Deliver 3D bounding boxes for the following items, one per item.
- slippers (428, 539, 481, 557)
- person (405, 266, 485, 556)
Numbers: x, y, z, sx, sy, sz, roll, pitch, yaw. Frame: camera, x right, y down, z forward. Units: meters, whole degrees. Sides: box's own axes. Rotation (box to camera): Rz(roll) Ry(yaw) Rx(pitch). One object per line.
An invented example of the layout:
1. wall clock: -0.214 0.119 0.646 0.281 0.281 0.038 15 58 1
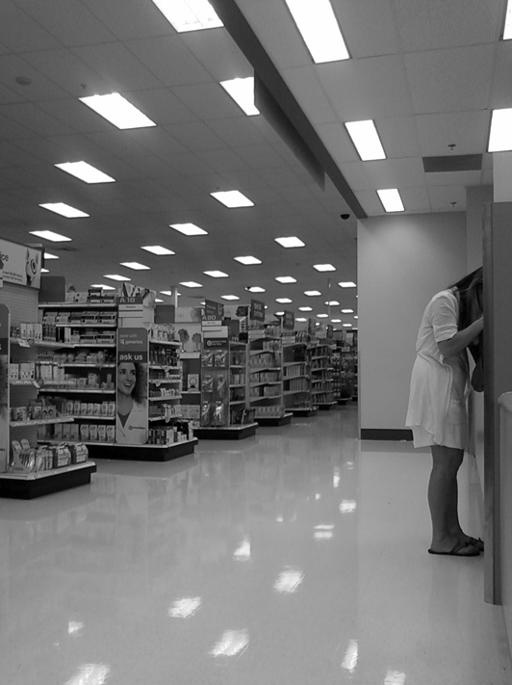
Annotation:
1. slippers: 1.215 1.265 3.358 0.197 0.064 0.124 -7 -1 15
2. person: 1.095 0.428 3.241 0.435 1.729 0.613 -2 -3 23
